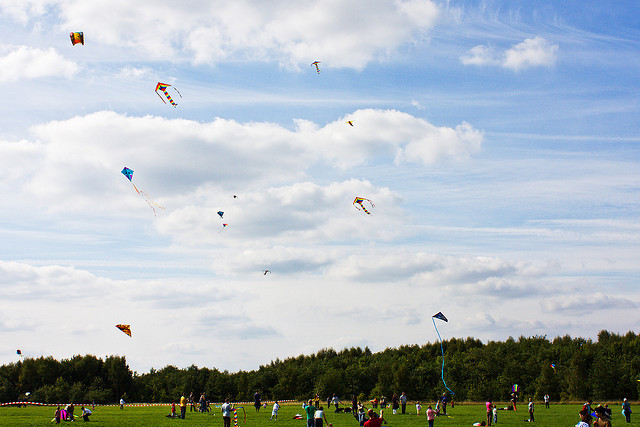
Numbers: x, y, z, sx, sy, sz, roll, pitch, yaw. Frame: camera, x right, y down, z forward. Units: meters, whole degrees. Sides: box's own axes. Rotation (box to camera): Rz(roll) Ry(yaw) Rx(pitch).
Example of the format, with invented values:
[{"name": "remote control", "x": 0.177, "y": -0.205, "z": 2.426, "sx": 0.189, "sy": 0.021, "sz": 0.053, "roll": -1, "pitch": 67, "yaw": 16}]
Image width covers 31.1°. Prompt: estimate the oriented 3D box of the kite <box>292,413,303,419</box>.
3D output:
[{"name": "kite", "x": -5.744, "y": 49.057, "z": 278.531, "sx": 2.441, "sy": 1.037, "sz": 0.827, "roll": -2, "pitch": -54, "yaw": 2}]
